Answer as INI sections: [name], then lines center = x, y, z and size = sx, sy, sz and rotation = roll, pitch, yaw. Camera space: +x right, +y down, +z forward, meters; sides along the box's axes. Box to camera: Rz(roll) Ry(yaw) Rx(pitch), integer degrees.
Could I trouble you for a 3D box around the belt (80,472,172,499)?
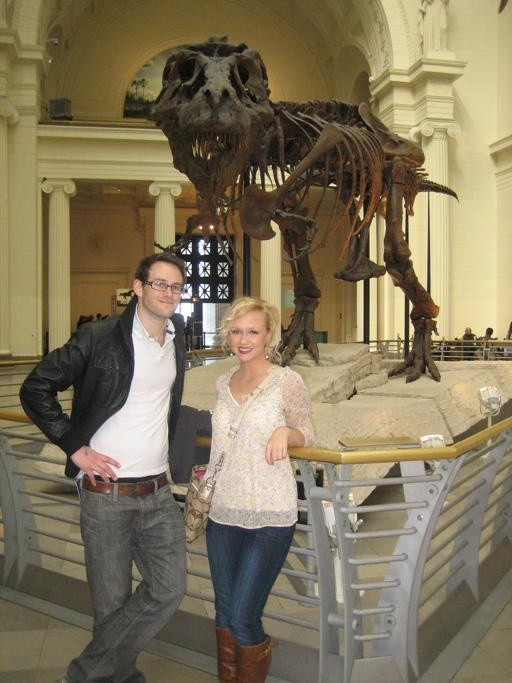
[belt]
center = -0.450, 0.483, 1.785
size = 0.301, 0.077, 0.157
rotation = -1, 3, -20
